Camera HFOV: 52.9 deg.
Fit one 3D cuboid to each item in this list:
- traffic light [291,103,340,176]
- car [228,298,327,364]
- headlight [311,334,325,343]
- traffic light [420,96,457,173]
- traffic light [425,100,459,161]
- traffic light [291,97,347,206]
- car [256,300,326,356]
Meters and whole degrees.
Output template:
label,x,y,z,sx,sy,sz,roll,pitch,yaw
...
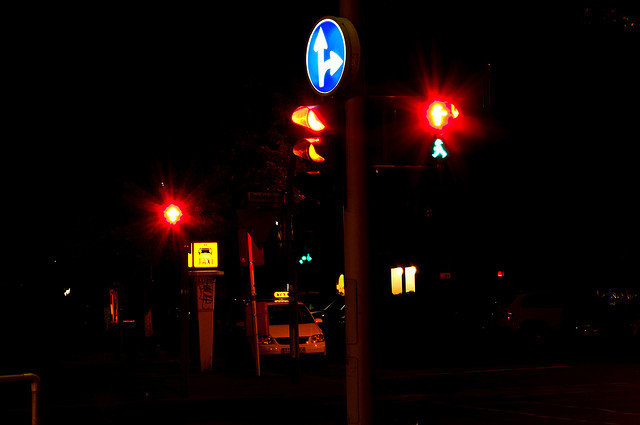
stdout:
label,x,y,z,sx,sy,sz,roll,pitch,yaw
traffic light,-0.086,-1.435,12.208,0.658,1.496,1.057,4,-22,18
car,-1.531,4.278,23.424,1.933,1.552,3.559,2,-11,-17
headlight,-0.072,4.322,22.098,0.538,0.282,0.134,-1,-5,-33
traffic light,2.244,-1.484,12.155,0.720,0.192,1.862,0,-51,13
traffic light,2.268,-1.508,12.018,0.360,1.120,0.793,-6,-5,36
traffic light,0.018,-1.161,12.096,0.469,2.208,1.325,0,-5,-37
car,-1.014,3.982,22.268,1.381,1.256,2.462,0,-15,-6
